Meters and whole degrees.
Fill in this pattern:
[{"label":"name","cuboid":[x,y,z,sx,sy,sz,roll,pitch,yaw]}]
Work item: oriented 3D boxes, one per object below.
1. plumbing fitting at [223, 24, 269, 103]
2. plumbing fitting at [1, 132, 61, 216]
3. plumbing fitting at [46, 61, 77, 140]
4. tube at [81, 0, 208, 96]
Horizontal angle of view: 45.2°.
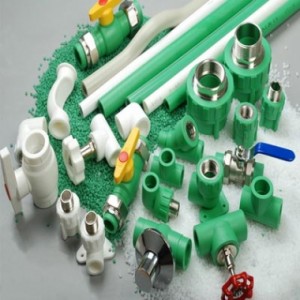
[{"label":"plumbing fitting","cuboid":[0.287,-0.258,1.087,0.098,0.127,0.177,-22,-35,-8]},{"label":"plumbing fitting","cuboid":[-0.313,0.072,0.944,0.081,0.069,0.182,-24,-37,-28]},{"label":"plumbing fitting","cuboid":[-0.284,-0.178,1.172,0.059,0.275,0.056,1,-21,7]},{"label":"tube","cuboid":[-0.015,-0.325,1.172,0.358,0.055,0.065,-55,-36,-15]}]
